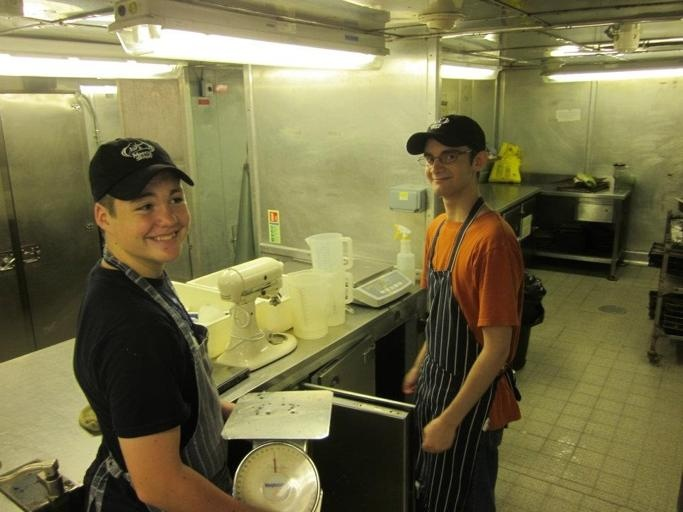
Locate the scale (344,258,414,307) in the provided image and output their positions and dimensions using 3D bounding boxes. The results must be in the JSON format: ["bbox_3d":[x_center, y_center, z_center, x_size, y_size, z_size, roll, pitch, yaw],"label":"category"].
[{"bbox_3d":[0.135,0.167,3.418,0.525,0.153,0.533,5,16,10],"label":"scale"}]

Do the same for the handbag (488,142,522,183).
[{"bbox_3d":[1.957,-1.123,6.828,0.393,0.480,0.183,4,-14,21],"label":"handbag"}]

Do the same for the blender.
[{"bbox_3d":[-0.422,0.254,2.762,0.320,0.479,0.480,6,15,31],"label":"blender"}]

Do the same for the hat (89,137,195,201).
[{"bbox_3d":[-0.653,-0.276,1.812,0.288,0.150,0.213,-8,11,34],"label":"hat"}]

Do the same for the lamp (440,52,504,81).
[{"bbox_3d":[1.250,-1.881,5.700,0.245,0.232,2.319,4,16,22],"label":"lamp"}]

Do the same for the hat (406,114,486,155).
[{"bbox_3d":[0.444,-0.513,2.489,0.276,0.134,0.190,17,6,-16],"label":"hat"}]
